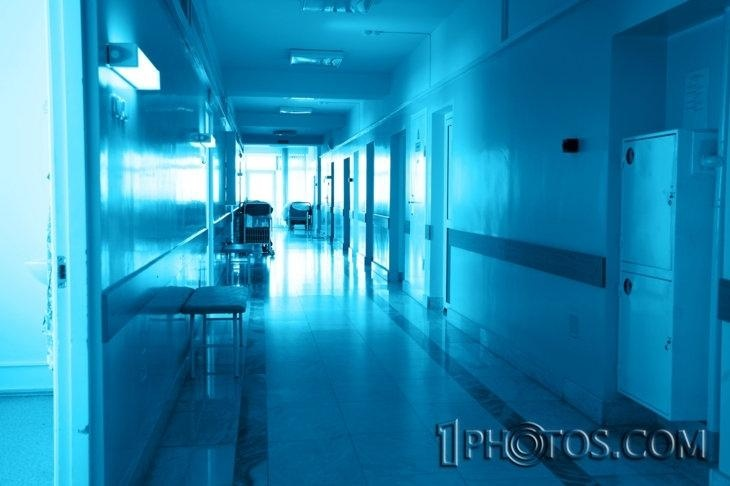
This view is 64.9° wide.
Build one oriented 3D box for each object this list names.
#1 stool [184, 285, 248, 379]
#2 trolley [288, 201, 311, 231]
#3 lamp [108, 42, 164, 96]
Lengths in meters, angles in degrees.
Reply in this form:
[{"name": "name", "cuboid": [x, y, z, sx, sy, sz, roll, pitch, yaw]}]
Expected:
[{"name": "stool", "cuboid": [-1.499, 0.876, 5.854, 0.646, 0.758, 1.170, -1, 6, -14]}, {"name": "trolley", "cuboid": [-2.607, -1.161, 22.985, 0.787, 1.134, 1.157, 0, -3, -5]}, {"name": "lamp", "cuboid": [-1.502, -1.133, 3.760, 0.177, 0.212, 0.775, -1, 8, -10]}]
